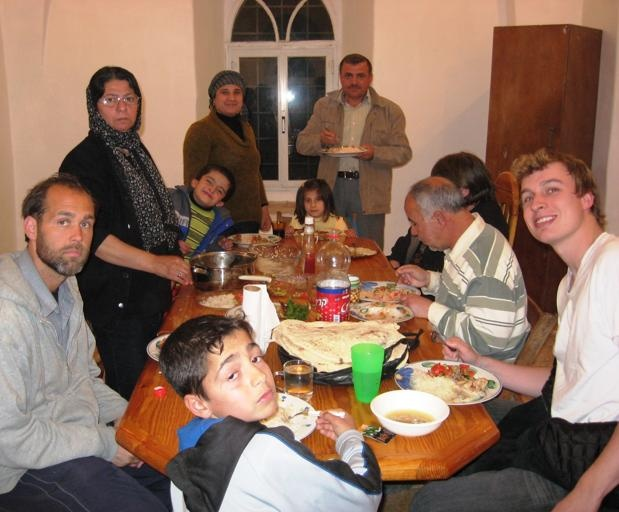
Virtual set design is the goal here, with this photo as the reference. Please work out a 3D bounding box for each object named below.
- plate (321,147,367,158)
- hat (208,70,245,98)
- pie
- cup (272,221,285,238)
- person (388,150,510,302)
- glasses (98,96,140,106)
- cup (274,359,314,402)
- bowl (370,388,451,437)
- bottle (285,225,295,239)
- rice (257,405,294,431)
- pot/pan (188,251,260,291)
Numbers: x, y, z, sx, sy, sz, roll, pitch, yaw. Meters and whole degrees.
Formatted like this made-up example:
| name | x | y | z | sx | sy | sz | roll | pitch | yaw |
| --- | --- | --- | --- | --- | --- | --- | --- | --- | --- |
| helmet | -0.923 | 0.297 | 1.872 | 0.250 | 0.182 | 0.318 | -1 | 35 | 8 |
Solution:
| name | x | y | z | sx | sy | sz | roll | pitch | yaw |
| --- | --- | --- | --- | --- | --- | --- | --- | --- | --- |
| plate | 0.304 | -0.918 | 4.437 | 0.340 | 0.092 | 0.431 | 0 | 9 | -9 |
| hat | -0.671 | -1.377 | 4.063 | 0.270 | 0.231 | 0.215 | 0 | 9 | -8 |
| pie | 0.081 | 0.299 | 1.818 | 0.239 | 0.044 | 0.239 | -6 | 12 | -40 |
| cup | -0.251 | -0.216 | 3.974 | 0.096 | 0.126 | 0.125 | 6 | 24 | 7 |
| person | 0.771 | -0.307 | 3.516 | 0.921 | 1.104 | 0.795 | -2 | 24 | 10 |
| glasses | -0.978 | -0.792 | 2.589 | 0.186 | 0.066 | 0.051 | -4 | 11 | -32 |
| cup | -0.048 | 0.418 | 1.686 | 0.132 | 0.121 | 0.086 | 0 | 3 | 3 |
| bowl | 0.304 | 0.492 | 1.510 | 0.196 | 0.056 | 0.195 | -3 | 3 | 0 |
| bottle | -0.169 | -0.195 | 4.123 | 0.068 | 0.036 | 0.095 | -1 | 27 | -3 |
| rice | -0.098 | 0.496 | 1.538 | 0.067 | 0.036 | 0.087 | -12 | 13 | -38 |
| pot/pan | -0.470 | 0.065 | 2.684 | 0.218 | 0.100 | 0.269 | -5 | 19 | -15 |
